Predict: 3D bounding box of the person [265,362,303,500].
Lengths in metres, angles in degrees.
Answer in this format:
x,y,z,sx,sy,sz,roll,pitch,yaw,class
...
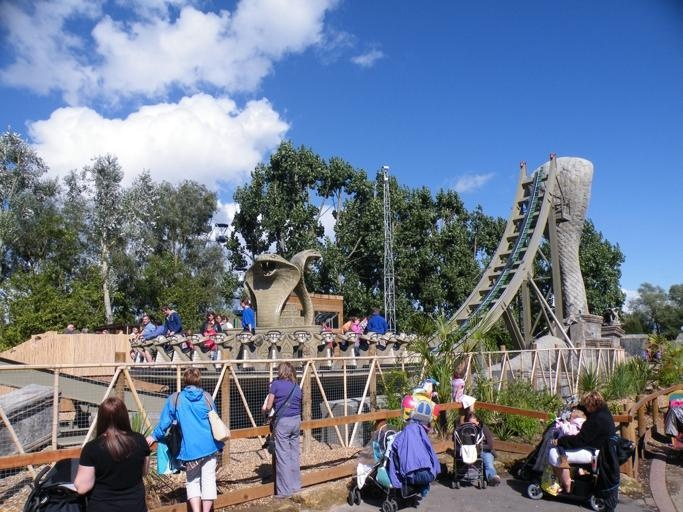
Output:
x,y,z,sx,sy,sz,roll,pitch,yaw,class
-0.984,2.949,9.940,0.655,2.219,0.474,2,-4,-4,person

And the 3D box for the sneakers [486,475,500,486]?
x,y,z,sx,sy,sz,roll,pitch,yaw,class
2.877,4.226,11.036,0.140,0.108,0.208,1,-10,-17,sneakers

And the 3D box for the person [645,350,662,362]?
x,y,z,sx,sy,sz,roll,pitch,yaw,class
13.760,4.359,25.607,0.356,0.440,1.154,24,6,10,person

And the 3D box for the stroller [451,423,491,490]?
x,y,z,sx,sy,sz,roll,pitch,yaw,class
2.405,3.750,10.935,0.549,1.166,0.673,-4,-17,38,stroller

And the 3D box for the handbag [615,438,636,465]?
x,y,z,sx,sy,sz,roll,pitch,yaw,class
4.785,3.254,9.823,0.216,0.629,0.447,3,-13,38,handbag

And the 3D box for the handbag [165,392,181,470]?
x,y,z,sx,sy,sz,roll,pitch,yaw,class
-2.482,2.768,8.613,0.242,0.817,0.188,4,-5,-26,handbag
